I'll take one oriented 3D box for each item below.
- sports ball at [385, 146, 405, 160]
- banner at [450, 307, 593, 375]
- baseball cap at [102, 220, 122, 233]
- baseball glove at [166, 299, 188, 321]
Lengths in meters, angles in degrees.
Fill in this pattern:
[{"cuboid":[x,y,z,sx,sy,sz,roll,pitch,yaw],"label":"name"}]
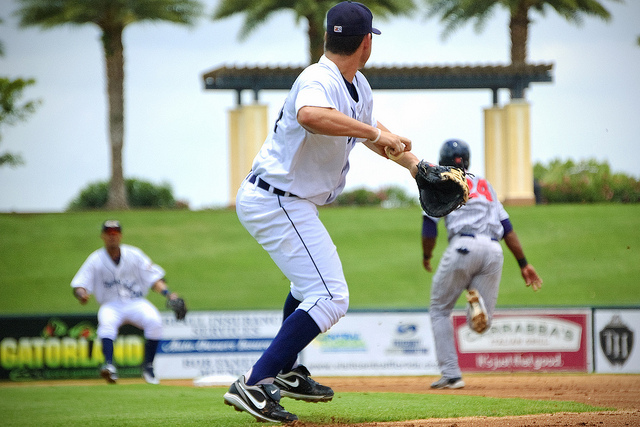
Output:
[{"cuboid":[1.267,-1.014,22.514,0.315,0.262,0.286,-1,11,3],"label":"sports ball"},{"cuboid":[3.930,2.454,25.403,2.542,1.204,0.346,-1,11,1],"label":"banner"},{"cuboid":[-3.939,0.271,25.184,0.345,0.217,0.329,-3,11,-10],"label":"baseball cap"},{"cuboid":[-2.592,1.763,24.545,0.288,0.393,0.194,-11,6,20],"label":"baseball glove"}]
